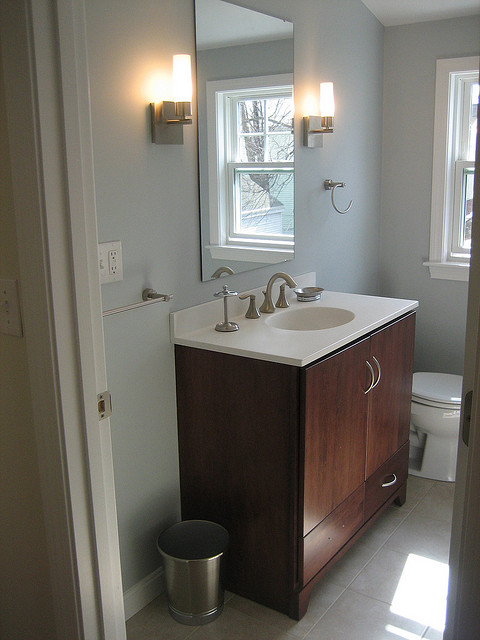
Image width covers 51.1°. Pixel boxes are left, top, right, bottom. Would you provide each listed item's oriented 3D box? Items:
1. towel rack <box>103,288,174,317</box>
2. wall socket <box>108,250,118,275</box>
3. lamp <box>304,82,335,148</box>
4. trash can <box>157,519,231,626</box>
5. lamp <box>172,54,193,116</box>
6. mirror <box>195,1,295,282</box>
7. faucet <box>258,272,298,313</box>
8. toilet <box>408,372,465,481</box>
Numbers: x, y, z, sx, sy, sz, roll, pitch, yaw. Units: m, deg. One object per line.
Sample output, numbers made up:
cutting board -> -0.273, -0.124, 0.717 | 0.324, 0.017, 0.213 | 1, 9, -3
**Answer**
towel rack -> -0.312, -0.077, 1.514 | 0.073, 0.052, 0.212 | 1, 11, 35
wall socket -> -0.369, -0.165, 1.460 | 0.009, 0.068, 0.038 | 2, 9, 23
lamp -> 0.381, -0.938, 2.316 | 0.106, 0.300, 0.231 | 5, 10, 35
trash can -> -0.141, 0.815, 1.731 | 0.220, 0.329, 0.278 | 1, 16, 2
lamp -> -0.174, -0.699, 1.520 | 0.051, 0.182, 0.065 | -2, 8, -11
mirror -> 0.046, -0.686, 1.980 | 0.145, 1.024, 0.744 | 3, 9, 26
faucet -> 0.148, -0.115, 2.028 | 0.137, 0.204, 0.086 | 4, 49, 2
toilet -> 1.009, 0.557, 2.676 | 0.267, 0.404, 0.388 | 6, 6, -7
